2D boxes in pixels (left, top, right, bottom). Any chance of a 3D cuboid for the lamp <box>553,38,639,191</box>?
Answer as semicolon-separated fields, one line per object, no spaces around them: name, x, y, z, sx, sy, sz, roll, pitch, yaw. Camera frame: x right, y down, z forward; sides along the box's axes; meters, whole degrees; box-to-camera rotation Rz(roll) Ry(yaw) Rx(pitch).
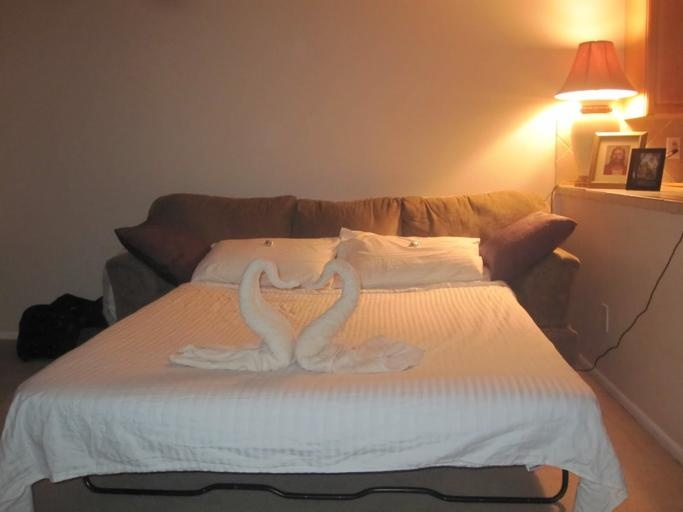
lamp;1.678;-0.951;3.783;0.515;0.906;0.514;-1;8;24

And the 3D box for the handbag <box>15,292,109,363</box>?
handbag;-1.865;0.462;3.720;0.542;0.208;0.427;-16;49;-21

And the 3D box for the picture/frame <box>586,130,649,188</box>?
picture/frame;1.671;-0.582;3.450;0.363;0.444;0.059;11;-6;43
